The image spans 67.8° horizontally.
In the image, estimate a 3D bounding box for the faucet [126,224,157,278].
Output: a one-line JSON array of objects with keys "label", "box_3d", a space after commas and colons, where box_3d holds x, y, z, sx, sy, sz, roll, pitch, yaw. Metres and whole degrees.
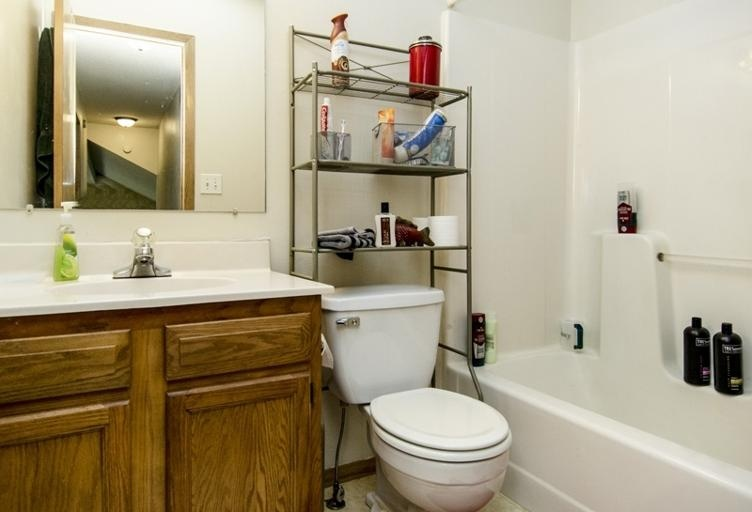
[{"label": "faucet", "box_3d": [-0.932, -0.012, 2.244, 0.098, 0.189, 0.090, -2, 6, -24]}]

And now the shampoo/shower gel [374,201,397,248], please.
[{"label": "shampoo/shower gel", "box_3d": [0.043, -0.150, 2.471, 0.095, 0.225, 0.075, 0, 29, 6]}]

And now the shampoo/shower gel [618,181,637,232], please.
[{"label": "shampoo/shower gel", "box_3d": [1.253, -0.234, 2.811, 0.089, 0.241, 0.054, 4, 6, 29]}]

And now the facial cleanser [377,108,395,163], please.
[{"label": "facial cleanser", "box_3d": [0.050, -0.536, 2.502, 0.068, 0.231, 0.029, 1, 5, 1]}]

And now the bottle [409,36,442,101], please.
[{"label": "bottle", "box_3d": [0.233, -0.896, 2.633, 0.148, 0.252, 0.147, 1, 4, 0]}]

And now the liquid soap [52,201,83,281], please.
[{"label": "liquid soap", "box_3d": [-1.211, -0.061, 2.199, 0.092, 0.305, 0.132, -2, 6, -28]}]

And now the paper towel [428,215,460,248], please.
[{"label": "paper towel", "box_3d": [0.316, -0.112, 2.634, 0.135, 0.135, 0.122, 0, 2, -3]}]
